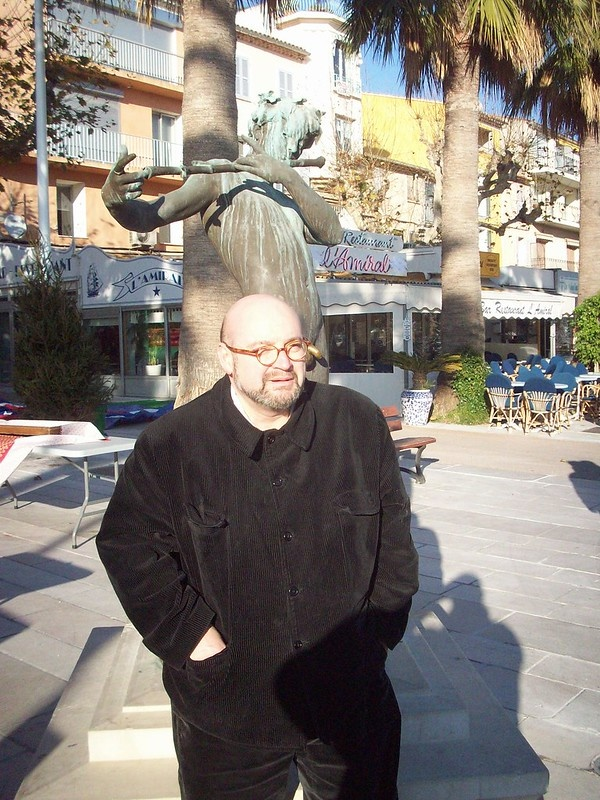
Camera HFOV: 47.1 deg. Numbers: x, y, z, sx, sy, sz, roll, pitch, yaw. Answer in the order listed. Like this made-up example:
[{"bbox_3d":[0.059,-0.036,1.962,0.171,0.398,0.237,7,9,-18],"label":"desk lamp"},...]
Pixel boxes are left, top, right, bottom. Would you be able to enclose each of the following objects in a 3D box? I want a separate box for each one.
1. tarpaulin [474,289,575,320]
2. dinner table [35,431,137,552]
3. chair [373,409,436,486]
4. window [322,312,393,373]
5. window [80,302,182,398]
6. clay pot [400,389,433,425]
[{"bbox_3d":[6.427,-2.750,19.824,1.448,0.529,2.206,9,11,43],"label":"tarpaulin"},{"bbox_3d":[-1.785,0.930,6.675,1.057,0.977,1.192,-1,-7,1],"label":"dinner table"},{"bbox_3d":[1.194,0.619,8.414,0.616,0.903,1.806,9,4,19],"label":"chair"},{"bbox_3d":[1.481,-1.376,16.422,2.021,1.806,0.075,-1,0,42],"label":"window"},{"bbox_3d":[-4.147,-1.302,17.500,2.356,2.088,0.870,6,11,33],"label":"window"},{"bbox_3d":[2.394,0.141,14.190,0.672,0.778,0.680,0,2,0],"label":"clay pot"}]
